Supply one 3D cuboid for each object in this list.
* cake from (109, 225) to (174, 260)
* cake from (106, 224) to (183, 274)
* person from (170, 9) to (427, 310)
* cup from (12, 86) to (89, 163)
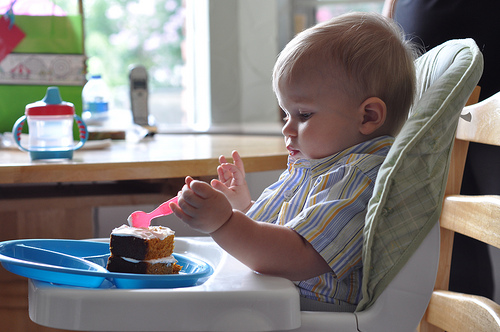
[{"bbox_3d":[-0.247,0.161,1.502,0.091,0.050,0.094,1,-2,29],"label":"cake"},{"bbox_3d":[-0.256,0.200,1.536,0.169,0.099,0.164,3,-1,-33],"label":"cake"},{"bbox_3d":[0.183,0.002,1.995,0.626,1.061,0.745,10,-2,-3],"label":"person"},{"bbox_3d":[-0.629,-0.113,2.078,0.277,0.255,0.207,0,2,1],"label":"cup"}]
